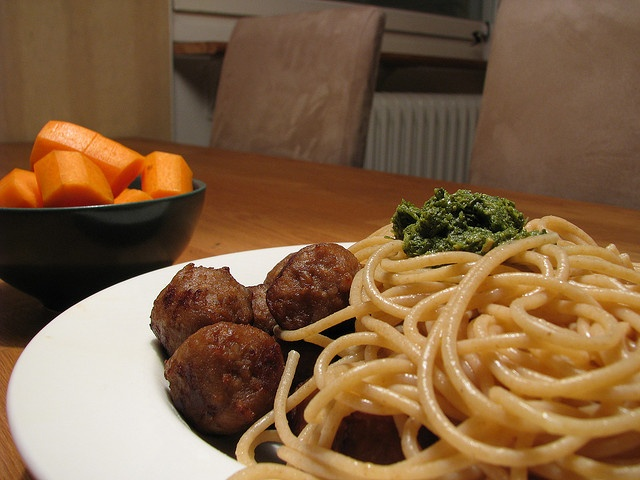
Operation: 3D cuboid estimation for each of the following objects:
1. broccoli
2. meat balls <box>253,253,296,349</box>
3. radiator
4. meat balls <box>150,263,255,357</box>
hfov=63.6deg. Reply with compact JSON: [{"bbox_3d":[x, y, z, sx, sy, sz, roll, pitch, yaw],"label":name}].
[{"bbox_3d":[0.245,-0.059,0.860,0.171,0.077,0.136,-3,15,-14],"label":"broccoli"},{"bbox_3d":[-0.089,0.113,0.954,0.082,0.141,0.083,4,10,-1],"label":"meat balls"},{"bbox_3d":[0.788,-0.795,4.161,0.981,0.157,1.120,8,-29,9],"label":"radiator"},{"bbox_3d":[-0.203,0.117,0.904,0.162,0.114,0.188,14,16,-3],"label":"meat balls"}]
